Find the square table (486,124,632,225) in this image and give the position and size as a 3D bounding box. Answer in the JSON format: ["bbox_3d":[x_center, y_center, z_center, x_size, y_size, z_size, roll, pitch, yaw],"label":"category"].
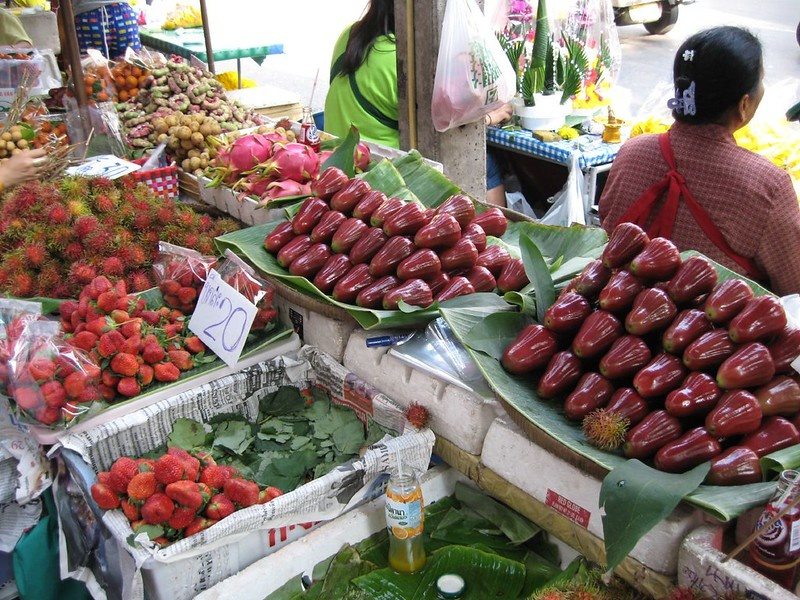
[{"bbox_3d":[1.036,-0.959,4.092,0.647,0.711,1.067,-11,33,-18],"label":"square table"}]

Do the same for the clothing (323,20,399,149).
[{"bbox_3d":[-0.279,-1.257,3.433,0.268,0.519,0.414,-12,47,-41],"label":"clothing"}]
